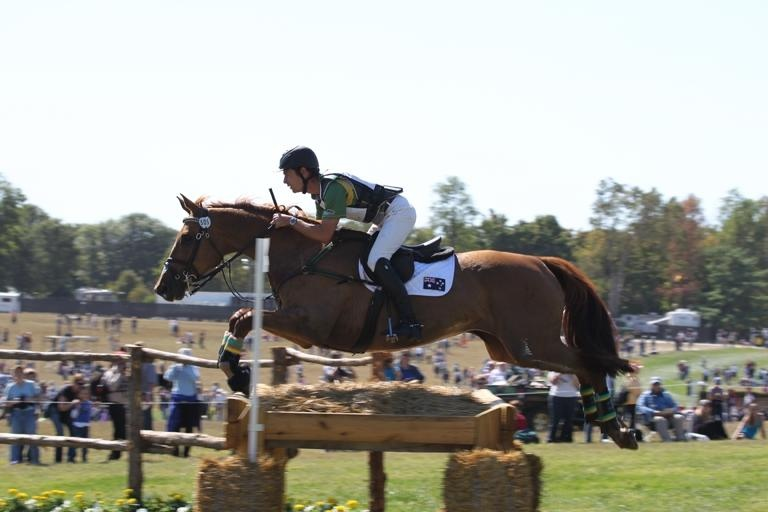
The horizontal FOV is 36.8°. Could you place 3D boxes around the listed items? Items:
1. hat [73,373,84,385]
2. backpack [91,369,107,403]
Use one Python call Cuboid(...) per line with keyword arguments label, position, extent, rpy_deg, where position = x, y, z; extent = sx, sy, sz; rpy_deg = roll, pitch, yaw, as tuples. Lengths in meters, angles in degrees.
Cuboid(label="hat", position=(-7.344, 2.964, 27.763), extent=(0.263, 0.262, 0.452), rpy_deg=(2, -9, -14))
Cuboid(label="backpack", position=(-6.710, 3.074, 27.098), extent=(0.386, 0.700, 0.742), rpy_deg=(3, -10, -15))
